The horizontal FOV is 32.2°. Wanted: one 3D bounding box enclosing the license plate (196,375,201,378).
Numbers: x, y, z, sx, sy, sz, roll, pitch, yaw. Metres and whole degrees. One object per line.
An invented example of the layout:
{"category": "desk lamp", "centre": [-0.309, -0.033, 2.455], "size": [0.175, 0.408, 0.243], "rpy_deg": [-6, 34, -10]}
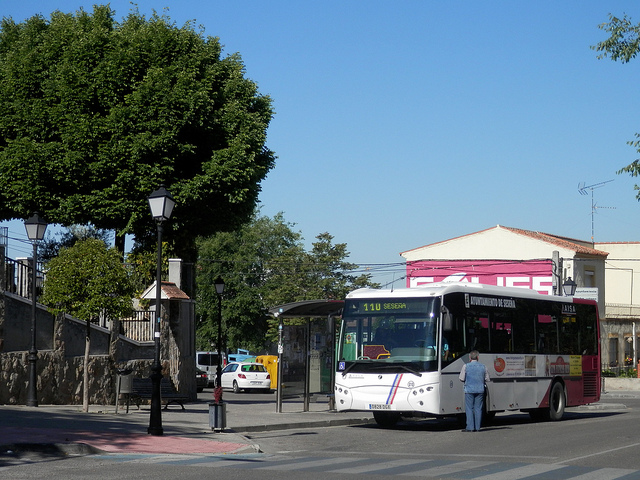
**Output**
{"category": "license plate", "centre": [-6.452, 7.161, 58.863], "size": [0.280, 0.146, 0.212], "rpy_deg": [-3, -11, 21]}

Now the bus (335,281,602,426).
{"category": "bus", "centre": [5.723, 3.676, 36.279], "size": [11.007, 4.287, 3.502], "rpy_deg": [9, -13, -38]}

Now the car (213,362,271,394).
{"category": "car", "centre": [-4.262, 7.299, 60.201], "size": [2.027, 1.688, 3.887], "rpy_deg": [3, -4, -29]}
